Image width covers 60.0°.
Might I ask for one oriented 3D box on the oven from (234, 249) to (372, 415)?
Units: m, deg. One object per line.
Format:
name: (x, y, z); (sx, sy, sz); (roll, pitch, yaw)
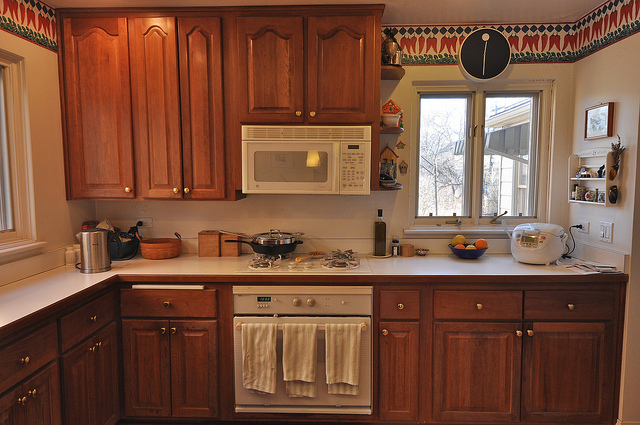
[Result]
oven: (-0.130, 0.968, 4.932); (1.407, 1.477, 1.125); (-1, -2, 0)

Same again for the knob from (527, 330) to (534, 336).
knob: (1.658, 0.941, 4.387); (0.047, 0.046, 0.013); (0, 3, -13)

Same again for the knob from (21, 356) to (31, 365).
knob: (-1.994, 1.000, 3.782); (0.048, 0.040, 0.046); (4, 2, 2)

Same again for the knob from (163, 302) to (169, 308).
knob: (-1.217, 0.722, 4.410); (0.050, 0.045, 0.015); (2, -1, -3)

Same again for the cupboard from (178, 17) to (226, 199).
cupboard: (-0.958, -0.837, 4.494); (0.446, 1.339, 0.248); (-1, 9, -7)

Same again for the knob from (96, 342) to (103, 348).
knob: (-1.681, 0.998, 4.238); (0.045, 0.041, 0.011); (2, 39, -12)

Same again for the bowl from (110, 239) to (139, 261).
bowl: (-1.699, 0.317, 4.823); (0.141, 0.176, 0.238); (2, 2, 24)

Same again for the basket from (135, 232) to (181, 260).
basket: (-1.380, 0.255, 4.869); (0.299, 0.152, 0.265); (0, 1, 4)

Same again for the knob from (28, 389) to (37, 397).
knob: (-1.957, 1.229, 3.801); (0.047, 0.031, 0.016); (7, 9, -7)

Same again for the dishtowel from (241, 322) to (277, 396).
dishtowel: (-0.482, 1.137, 4.383); (0.264, 0.537, 0.062); (1, 3, 15)

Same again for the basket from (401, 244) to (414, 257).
basket: (0.778, 0.332, 4.913); (0.124, 0.098, 0.070); (0, 2, -7)

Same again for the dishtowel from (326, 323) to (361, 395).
dishtowel: (0.183, 1.130, 4.516); (0.303, 0.603, 0.218); (0, 3, 0)

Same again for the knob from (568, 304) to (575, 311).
knob: (1.975, 0.736, 4.381); (0.046, 0.040, 0.013); (0, 3, -9)

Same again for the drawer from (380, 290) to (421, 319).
drawer: (0.599, 0.739, 4.484); (0.397, 0.239, 0.207); (4, -9, -24)

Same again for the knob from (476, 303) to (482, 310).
knob: (1.256, 0.733, 4.384); (0.039, 0.050, 0.015); (1, 3, 9)

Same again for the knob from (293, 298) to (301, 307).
knob: (-0.181, 0.699, 4.386); (0.059, 0.060, 0.023); (0, 3, -5)

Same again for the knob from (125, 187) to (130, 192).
knob: (-1.617, -0.203, 4.685); (0.041, 0.038, 0.013); (5, 6, 3)

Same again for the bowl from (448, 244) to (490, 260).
bowl: (1.271, 0.332, 4.806); (0.288, 0.127, 0.161); (1, 2, 1)

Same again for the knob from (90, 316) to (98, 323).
knob: (-1.702, 0.798, 4.212); (0.038, 0.010, 0.035); (2, 9, 9)

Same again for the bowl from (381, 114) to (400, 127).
bowl: (0.599, -0.789, 4.728); (0.116, 0.072, 0.113); (0, 4, 0)

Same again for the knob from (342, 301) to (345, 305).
knob: (0.185, 0.702, 4.397); (0.024, 0.026, 0.010); (2, 11, 7)

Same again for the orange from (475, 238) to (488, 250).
orange: (1.379, 0.270, 4.818); (0.094, 0.083, 0.104); (16, -33, 10)

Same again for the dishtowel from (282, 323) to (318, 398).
dishtowel: (-0.161, 1.131, 4.432); (0.336, 0.616, 0.232); (-2, 3, -41)

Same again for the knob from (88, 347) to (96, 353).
knob: (-1.714, 1.024, 4.181); (0.088, 0.052, 0.019); (7, -6, -29)

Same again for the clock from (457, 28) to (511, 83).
clock: (1.421, -1.374, 4.836); (0.432, 0.443, 0.071); (1, 3, 3)

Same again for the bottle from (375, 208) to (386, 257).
bottle: (0.535, 0.175, 4.917); (0.098, 0.409, 0.116); (1, 3, 5)

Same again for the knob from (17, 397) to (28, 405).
knob: (-2.003, 1.267, 3.758); (0.059, 0.051, 0.018); (-1, 3, -38)

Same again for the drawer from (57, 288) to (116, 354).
drawer: (-1.738, 0.791, 4.170); (0.332, 0.228, 0.484); (0, 9, 18)

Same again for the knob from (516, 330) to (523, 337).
knob: (1.573, 0.947, 4.387); (0.050, 0.055, 0.015); (1, 3, 6)
